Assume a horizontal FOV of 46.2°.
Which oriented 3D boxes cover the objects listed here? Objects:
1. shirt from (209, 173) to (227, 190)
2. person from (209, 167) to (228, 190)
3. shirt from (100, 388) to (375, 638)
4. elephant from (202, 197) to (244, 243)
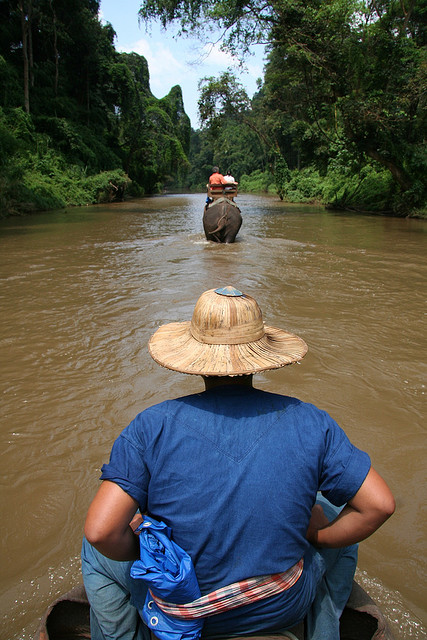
[{"bbox_3d":[0.128,-3.547,12.742,0.441,0.406,0.473,-2,13,-11],"label":"shirt"},{"bbox_3d":[0.099,-3.677,12.787,0.391,0.829,0.476,0,54,3],"label":"person"},{"bbox_3d":[0.062,0.402,1.565,0.865,0.840,0.608,-4,17,0],"label":"shirt"},{"bbox_3d":[0.212,-2.462,12.274,0.631,1.083,0.976,-8,15,-32],"label":"elephant"}]
